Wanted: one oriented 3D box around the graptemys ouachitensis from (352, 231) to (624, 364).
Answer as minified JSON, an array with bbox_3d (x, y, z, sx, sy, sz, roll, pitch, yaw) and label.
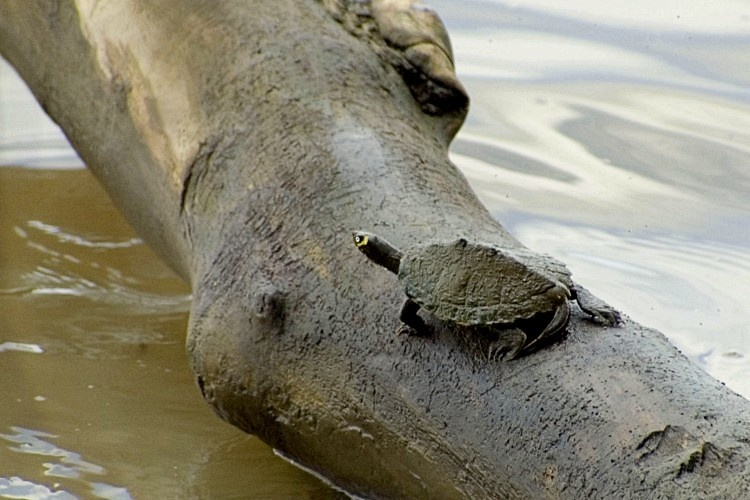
[{"bbox_3d":[0.236,0.082,3.879,0.416,0.183,0.579,-23,30,-36],"label":"graptemys ouachitensis"}]
